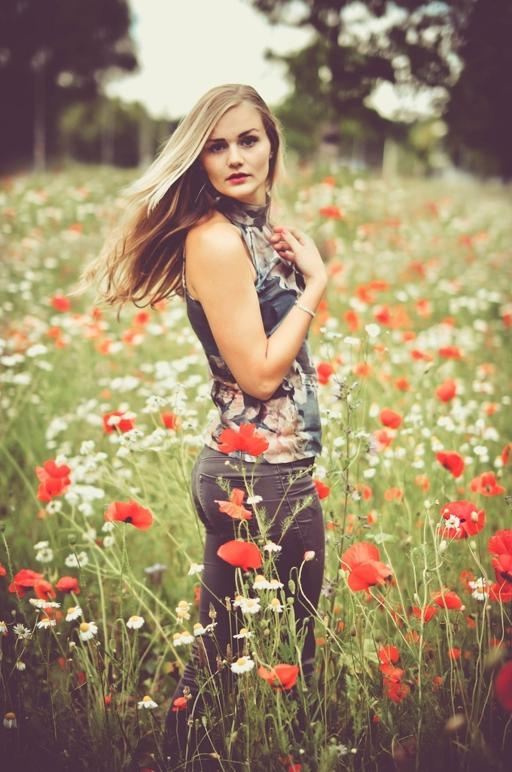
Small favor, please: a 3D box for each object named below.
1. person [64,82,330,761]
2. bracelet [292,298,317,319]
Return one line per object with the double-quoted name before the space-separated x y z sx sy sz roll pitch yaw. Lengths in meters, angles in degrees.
"person" -0.057 0.069 1.912 0.444 1.631 0.842 -4 17 -26
"bracelet" 0.120 -0.183 1.755 0.048 0.014 0.042 40 -5 -17
